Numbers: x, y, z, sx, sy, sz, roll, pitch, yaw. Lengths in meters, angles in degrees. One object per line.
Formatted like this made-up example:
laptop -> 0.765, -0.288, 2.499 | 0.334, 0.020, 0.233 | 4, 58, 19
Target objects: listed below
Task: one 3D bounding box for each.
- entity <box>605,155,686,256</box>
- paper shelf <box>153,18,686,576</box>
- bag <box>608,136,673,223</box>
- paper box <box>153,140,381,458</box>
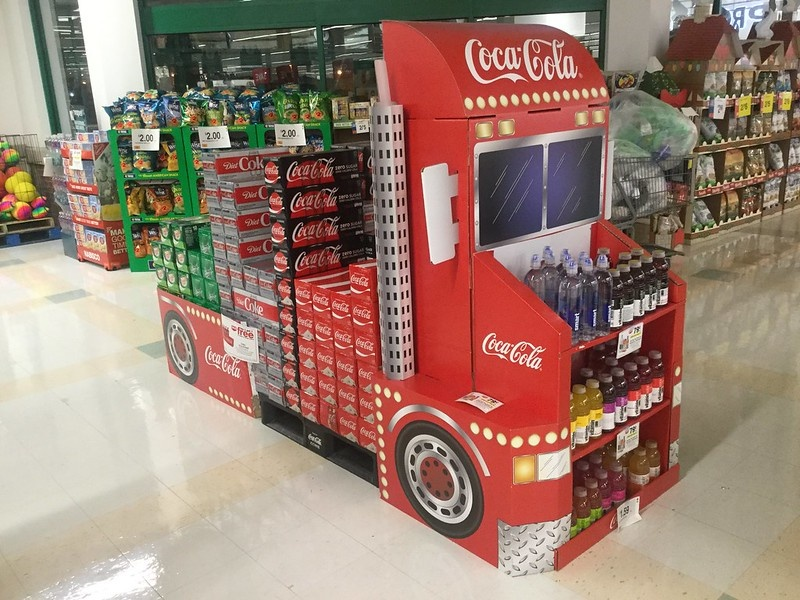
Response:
entity -> 2.378, -0.968, 5.608 | 0.592, 0.986, 0.962 | -9, 2, 28
paper shelf -> 0.137, -0.213, 3.837 | 2.485, 2.678, 1.578 | 10, 21, 36
bag -> 2.005, -1.028, 5.236 | 0.578, 0.520, 0.356 | -13, 24, -7
paper box -> -0.857, 0.059, 4.015 | 0.952, 1.525, 1.763 | -19, 27, -36
